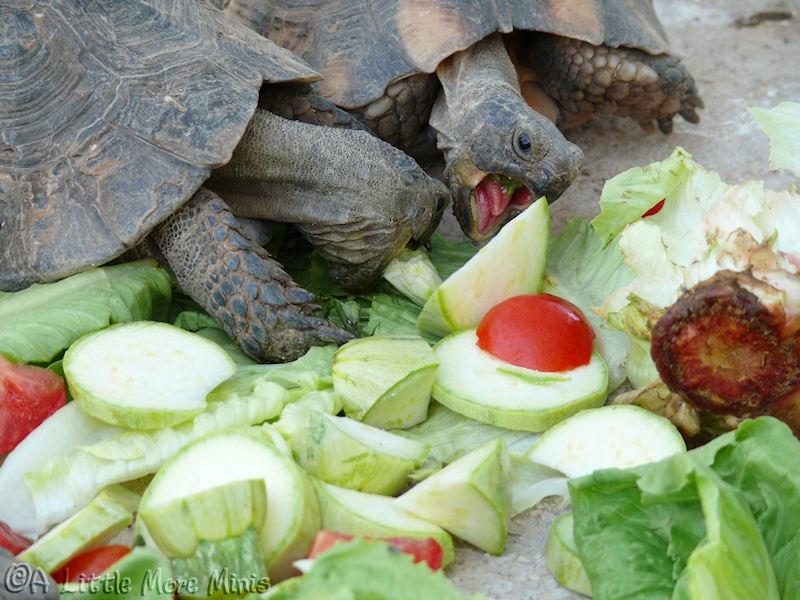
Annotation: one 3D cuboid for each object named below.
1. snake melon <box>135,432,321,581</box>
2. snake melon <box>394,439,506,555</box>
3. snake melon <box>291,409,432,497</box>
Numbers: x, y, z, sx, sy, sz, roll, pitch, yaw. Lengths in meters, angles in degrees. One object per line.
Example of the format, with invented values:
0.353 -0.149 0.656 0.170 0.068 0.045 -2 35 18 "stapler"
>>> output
-0.321 0.399 1.723 0.279 0.177 0.280 -41 41 -2 "snake melon"
0.118 0.445 1.827 0.208 0.129 0.203 -18 38 1 "snake melon"
-0.077 0.337 1.867 0.210 0.092 0.211 10 13 -46 "snake melon"
